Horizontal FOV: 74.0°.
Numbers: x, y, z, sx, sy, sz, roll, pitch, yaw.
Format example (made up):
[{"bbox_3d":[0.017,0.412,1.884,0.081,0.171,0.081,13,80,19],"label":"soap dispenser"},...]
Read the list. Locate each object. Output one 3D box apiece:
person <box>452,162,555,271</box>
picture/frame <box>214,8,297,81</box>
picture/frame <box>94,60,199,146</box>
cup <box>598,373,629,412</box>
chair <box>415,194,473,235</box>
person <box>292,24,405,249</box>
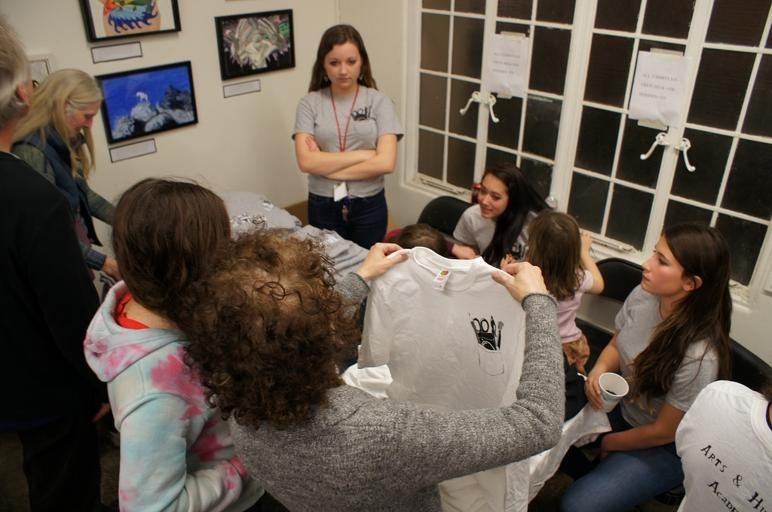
[{"bbox_3d":[0.822,-0.252,3.511,0.761,0.762,0.435,19,36,37],"label":"person"},{"bbox_3d":[-1.081,-1.738,4.152,0.593,0.428,0.026,-22,33,-32],"label":"picture/frame"},{"bbox_3d":[-1.781,-1.147,3.777,0.696,0.514,0.053,-20,36,-31],"label":"picture/frame"},{"bbox_3d":[1.066,0.672,2.457,0.121,0.191,0.107,7,28,14],"label":"cup"},{"bbox_3d":[0.457,-0.340,4.123,0.311,0.419,0.341,33,18,16],"label":"chair"},{"bbox_3d":[-0.264,-0.780,3.577,0.746,1.507,0.460,-5,28,-10],"label":"person"}]
